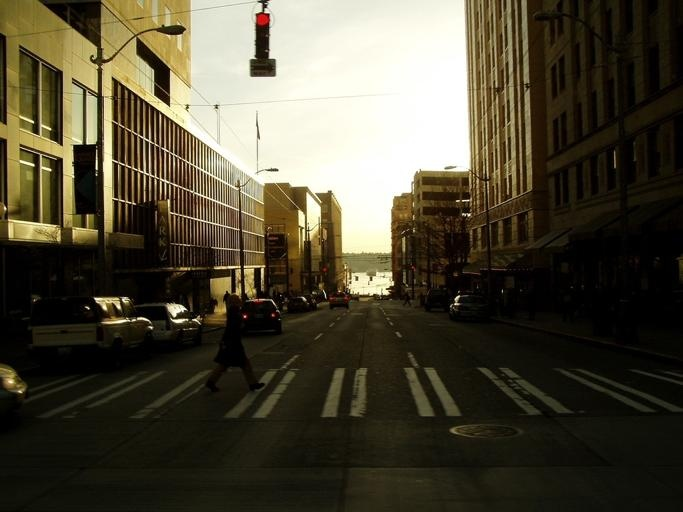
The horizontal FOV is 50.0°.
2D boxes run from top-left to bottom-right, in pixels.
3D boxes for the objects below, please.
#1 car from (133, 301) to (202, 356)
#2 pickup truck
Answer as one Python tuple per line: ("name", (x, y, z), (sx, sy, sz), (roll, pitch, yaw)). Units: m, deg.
("car", (-6.138, 2.501, 26.760), (1.498, 1.445, 3.839), (-1, -3, 4))
("pickup truck", (-7.212, 2.125, 21.551), (1.756, 1.942, 3.418), (-7, -5, 28))
